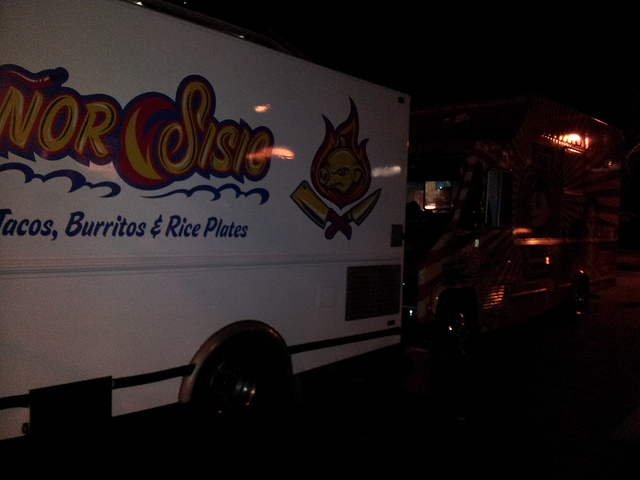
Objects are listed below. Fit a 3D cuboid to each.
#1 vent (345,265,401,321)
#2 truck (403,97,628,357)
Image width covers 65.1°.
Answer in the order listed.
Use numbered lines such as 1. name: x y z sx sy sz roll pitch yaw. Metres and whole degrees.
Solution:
1. vent: 0.618 0.638 6.135 0.048 0.479 0.662 -1 1 44
2. truck: 3.844 -0.489 9.480 5.282 3.883 2.378 -1 8 -18
